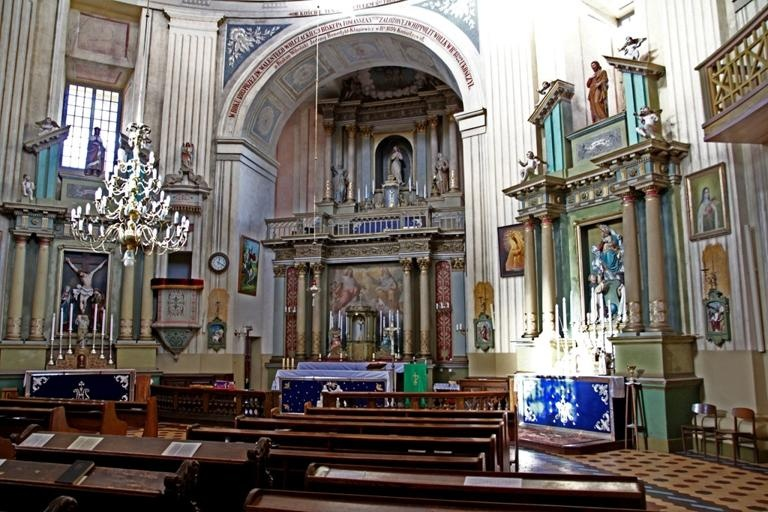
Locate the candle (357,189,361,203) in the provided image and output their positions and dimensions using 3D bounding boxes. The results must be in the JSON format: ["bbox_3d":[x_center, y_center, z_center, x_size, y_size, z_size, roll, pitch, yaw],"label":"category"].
[{"bbox_3d":[-0.790,-1.973,21.877,0.148,0.528,0.268,1,-8,-4],"label":"candle"}]

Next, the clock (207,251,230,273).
[{"bbox_3d":[-4.534,0.161,18.723,0.530,0.546,0.175,6,-8,-25],"label":"clock"}]

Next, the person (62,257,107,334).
[{"bbox_3d":[-7.640,0.978,17.294,0.806,2.219,0.392,6,-8,-39],"label":"person"}]

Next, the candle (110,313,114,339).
[{"bbox_3d":[-6.960,1.776,17.423,0.098,0.672,0.258,4,-9,-22],"label":"candle"}]

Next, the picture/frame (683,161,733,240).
[{"bbox_3d":[5.873,-0.988,12.390,0.152,1.307,0.743,6,-9,-32],"label":"picture/frame"}]

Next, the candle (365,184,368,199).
[{"bbox_3d":[-0.546,-2.091,21.888,0.090,0.509,0.195,2,-8,-9],"label":"candle"}]

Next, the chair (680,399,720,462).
[{"bbox_3d":[5.481,2.993,11.830,0.434,0.841,0.487,5,-9,-30],"label":"chair"}]

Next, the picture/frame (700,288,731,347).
[{"bbox_3d":[5.942,1.083,12.163,0.096,1.017,0.461,6,-9,-32],"label":"picture/frame"}]

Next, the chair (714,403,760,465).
[{"bbox_3d":[5.879,2.975,11.359,0.637,0.899,0.689,-4,-9,29],"label":"chair"}]

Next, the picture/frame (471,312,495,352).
[{"bbox_3d":[2.449,1.878,16.708,0.807,1.336,0.169,-9,-18,38],"label":"picture/frame"}]
